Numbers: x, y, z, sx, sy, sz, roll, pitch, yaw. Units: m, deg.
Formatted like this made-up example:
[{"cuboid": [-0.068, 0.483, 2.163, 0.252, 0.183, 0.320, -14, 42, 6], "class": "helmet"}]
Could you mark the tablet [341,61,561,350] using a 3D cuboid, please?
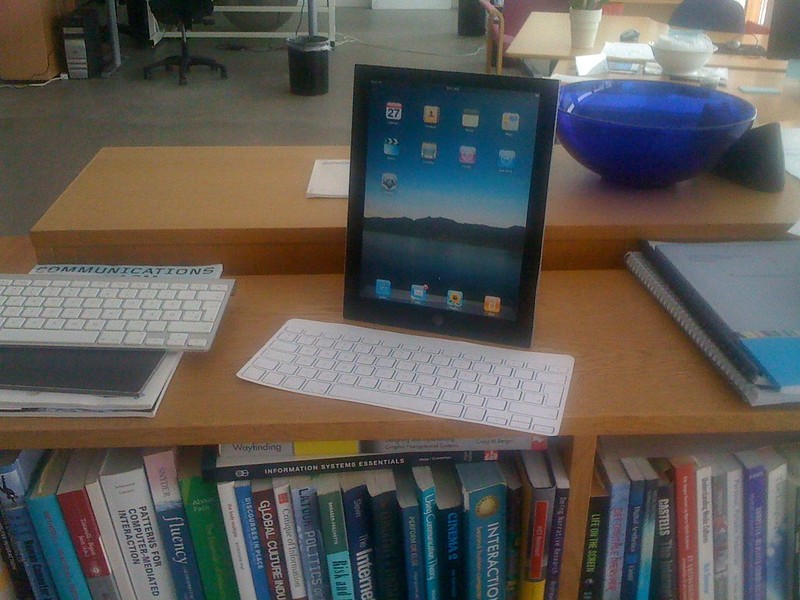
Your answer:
[{"cuboid": [0.065, -0.150, 1.002, 0.331, 0.386, 0.022, 11, 15, 27], "class": "tablet"}]

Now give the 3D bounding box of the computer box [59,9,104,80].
[{"cuboid": [-2.401, -1.948, 4.998, 0.287, 0.539, 0.333, -5, 38, -5], "class": "computer box"}]

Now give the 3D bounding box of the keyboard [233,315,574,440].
[{"cuboid": [0.012, 0.108, 0.966, 0.464, 0.017, 0.184, 7, 31, 16], "class": "keyboard"}]

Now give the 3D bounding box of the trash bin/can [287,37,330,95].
[{"cuboid": [-0.580, -1.690, 4.762, 0.404, 0.396, 0.392, -1, 37, -4], "class": "trash bin/can"}]

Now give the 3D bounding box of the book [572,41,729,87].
[{"cuboid": [0.919, -0.849, 2.371, 0.563, 0.022, 0.478, 10, 34, 18], "class": "book"}]
